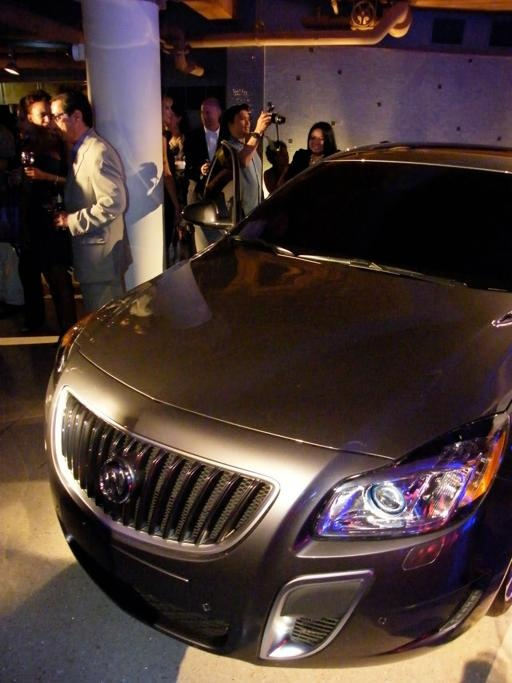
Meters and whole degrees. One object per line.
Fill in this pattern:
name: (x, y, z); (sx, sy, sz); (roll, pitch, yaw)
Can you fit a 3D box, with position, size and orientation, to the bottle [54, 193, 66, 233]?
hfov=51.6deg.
bottle: (-1.310, -0.858, 3.501); (0.078, 0.337, 0.080); (8, 50, -10)
